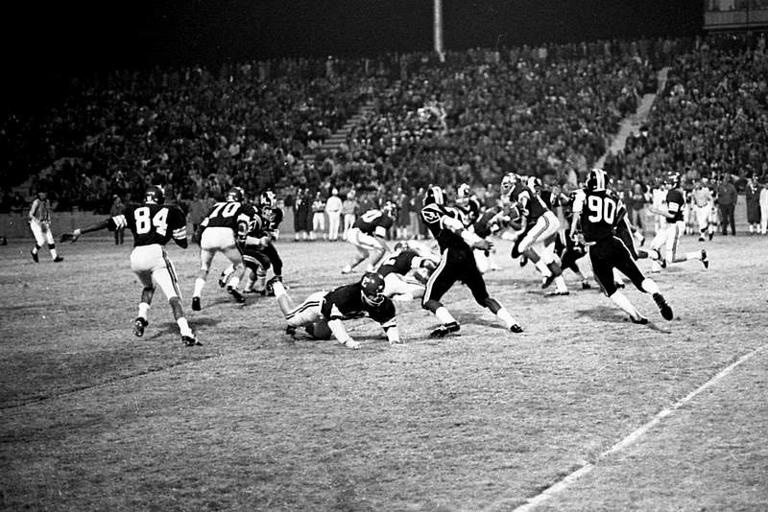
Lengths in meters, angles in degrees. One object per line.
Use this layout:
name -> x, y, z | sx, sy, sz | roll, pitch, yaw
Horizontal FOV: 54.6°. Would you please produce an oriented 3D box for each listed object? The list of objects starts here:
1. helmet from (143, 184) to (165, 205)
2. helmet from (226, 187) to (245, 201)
helmet -> -3.947, -1.047, 12.649 | 0.299, 0.391, 0.381 | 4, -1, 1
helmet -> -3.121, -1.299, 15.473 | 0.300, 0.414, 0.406 | 10, 13, 32
